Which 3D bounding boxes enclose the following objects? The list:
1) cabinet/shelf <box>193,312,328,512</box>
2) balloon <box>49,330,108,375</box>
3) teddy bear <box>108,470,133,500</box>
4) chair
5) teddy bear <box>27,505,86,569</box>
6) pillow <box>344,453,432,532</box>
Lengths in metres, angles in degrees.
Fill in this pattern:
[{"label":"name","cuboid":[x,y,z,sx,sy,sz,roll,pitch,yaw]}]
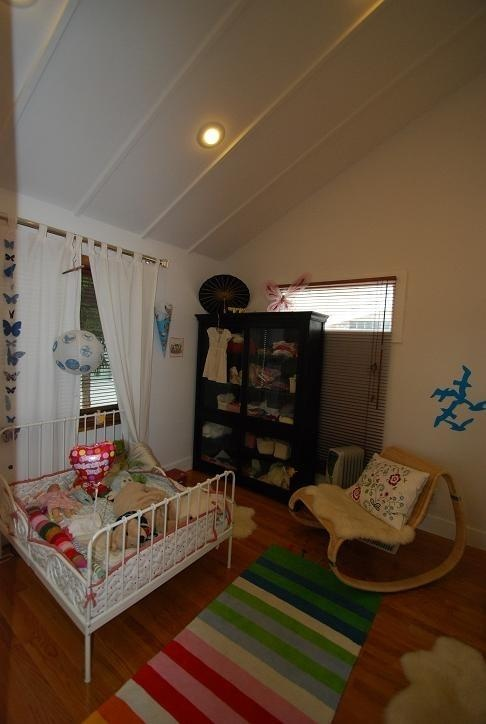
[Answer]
[{"label":"cabinet/shelf","cuboid":[0.172,0.348,3.601,1.268,1.802,0.452,7,6,40]},{"label":"balloon","cuboid":[-0.898,-0.041,2.669,0.183,0.271,0.223,9,12,31]},{"label":"teddy bear","cuboid":[-0.678,0.685,2.743,0.097,0.124,0.063,-26,-49,39]},{"label":"chair","cuboid":[0.714,0.860,2.853,0.879,0.649,0.634,5,-2,-22]},{"label":"teddy bear","cuboid":[-0.816,0.760,2.112,0.345,0.078,0.084,26,19,11]},{"label":"pillow","cuboid":[0.842,0.741,2.822,0.098,0.298,0.340,32,-4,-20]}]
